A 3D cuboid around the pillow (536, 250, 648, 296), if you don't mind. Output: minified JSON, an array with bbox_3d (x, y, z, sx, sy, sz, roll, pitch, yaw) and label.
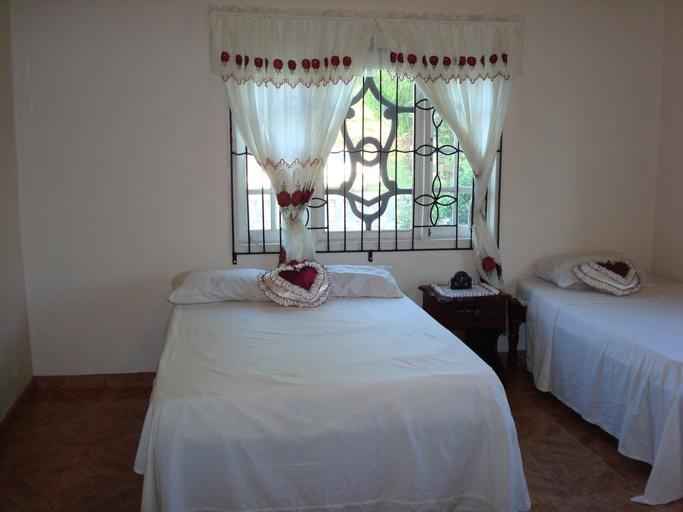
[{"bbox_3d":[1.885,0.124,4.004,0.393,0.227,0.463,-7,10,-25],"label":"pillow"}]

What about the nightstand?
[{"bbox_3d":[0.984,0.509,4.228,0.695,0.977,0.664,-2,8,-8],"label":"nightstand"}]
